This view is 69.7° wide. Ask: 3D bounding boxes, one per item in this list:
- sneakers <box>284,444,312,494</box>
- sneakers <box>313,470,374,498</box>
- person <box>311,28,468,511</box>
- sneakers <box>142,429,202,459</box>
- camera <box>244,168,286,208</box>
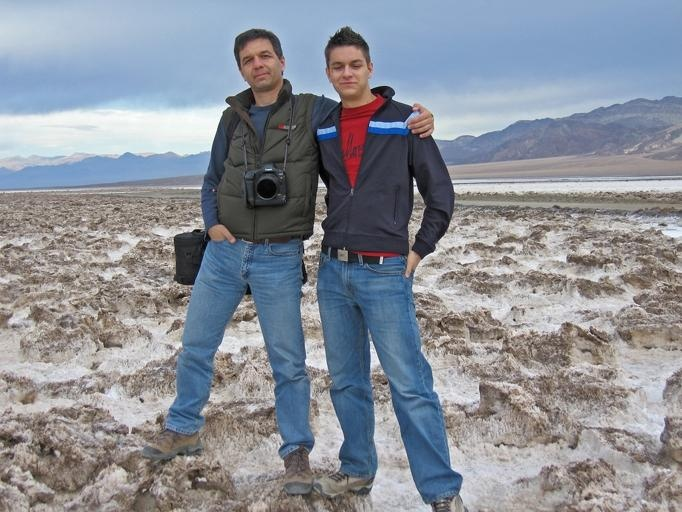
[{"bbox_3d":[-0.285,1.427,3.286,0.196,0.218,0.237,-2,10,-8],"label":"sneakers"},{"bbox_3d":[-0.003,1.508,3.334,0.397,0.199,0.151,12,30,-23],"label":"sneakers"},{"bbox_3d":[0.285,0.076,3.209,1.046,3.104,0.721,2,9,16],"label":"person"},{"bbox_3d":[-1.196,1.298,3.473,0.370,0.223,0.148,6,-4,-31],"label":"sneakers"},{"bbox_3d":[-0.536,-0.488,3.393,0.293,0.298,0.215,1,15,4],"label":"camera"}]
